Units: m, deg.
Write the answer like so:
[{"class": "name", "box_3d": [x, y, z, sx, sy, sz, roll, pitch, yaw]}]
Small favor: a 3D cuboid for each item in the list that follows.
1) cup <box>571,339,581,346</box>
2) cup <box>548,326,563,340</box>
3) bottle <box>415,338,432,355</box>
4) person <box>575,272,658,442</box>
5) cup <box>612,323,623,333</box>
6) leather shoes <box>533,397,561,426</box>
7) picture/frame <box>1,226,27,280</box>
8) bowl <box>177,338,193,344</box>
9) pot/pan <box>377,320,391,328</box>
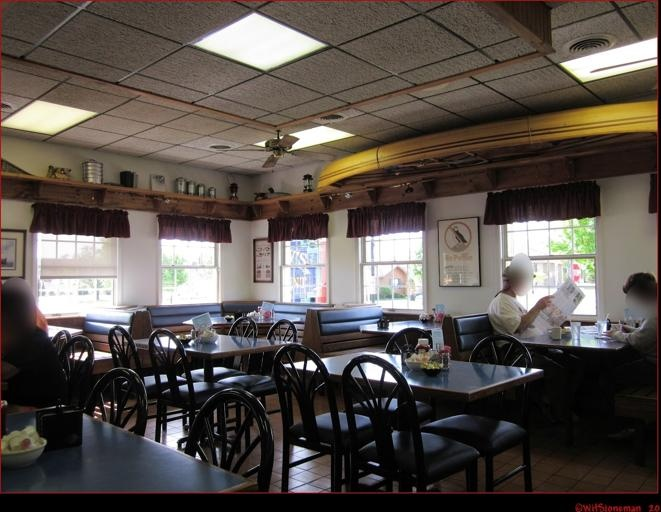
[{"class": "cup", "box_3d": [2.297, 0.803, 4.522, 0.065, 0.053, 0.044, 2, 1, -32]}, {"class": "cup", "box_3d": [2.225, 0.766, 4.861, 0.165, 0.142, 0.096, -1, 0, 37]}, {"class": "bottle", "box_3d": [0.671, 0.655, 3.520, 0.123, 0.101, 0.111, 1, -4, 2]}, {"class": "person", "box_3d": [2.814, 0.929, 4.652, 0.584, 1.503, 1.283, -3, -5, 12]}, {"class": "cup", "box_3d": [3.005, 0.751, 5.070, 0.154, 0.094, 0.082, 3, -2, -39]}, {"class": "leather shoes", "box_3d": [2.171, 1.584, 4.928, 0.249, 0.302, 0.128, -6, -15, 39]}, {"class": "picture/frame", "box_3d": [-4.384, -0.047, 6.684, 0.278, 0.684, 0.297, 1, -5, -30]}, {"class": "bowl", "box_3d": [-1.482, 0.862, 4.876, 0.174, 0.055, 0.159, 0, -7, 0]}, {"class": "pot/pan", "box_3d": [0.684, 0.877, 6.251, 0.171, 0.085, 0.258, 1, -1, 8]}]
